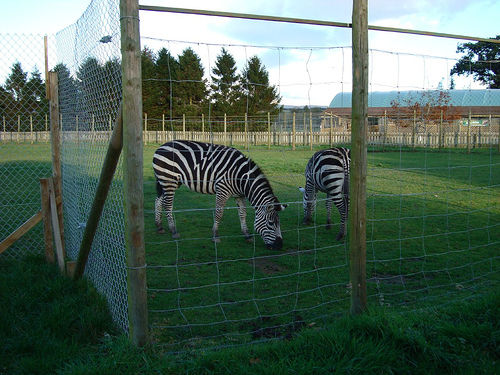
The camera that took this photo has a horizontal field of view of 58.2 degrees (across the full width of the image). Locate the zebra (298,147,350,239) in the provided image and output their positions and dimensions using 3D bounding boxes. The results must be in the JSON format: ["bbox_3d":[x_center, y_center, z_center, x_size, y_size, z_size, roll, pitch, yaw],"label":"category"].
[{"bbox_3d":[1.373,0.062,8.531,0.689,1.571,2.644,2,-1,-8],"label":"zebra"}]

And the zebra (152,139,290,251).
[{"bbox_3d":[-0.529,0.068,7.111,2.319,1.491,0.859,6,10,28],"label":"zebra"}]
